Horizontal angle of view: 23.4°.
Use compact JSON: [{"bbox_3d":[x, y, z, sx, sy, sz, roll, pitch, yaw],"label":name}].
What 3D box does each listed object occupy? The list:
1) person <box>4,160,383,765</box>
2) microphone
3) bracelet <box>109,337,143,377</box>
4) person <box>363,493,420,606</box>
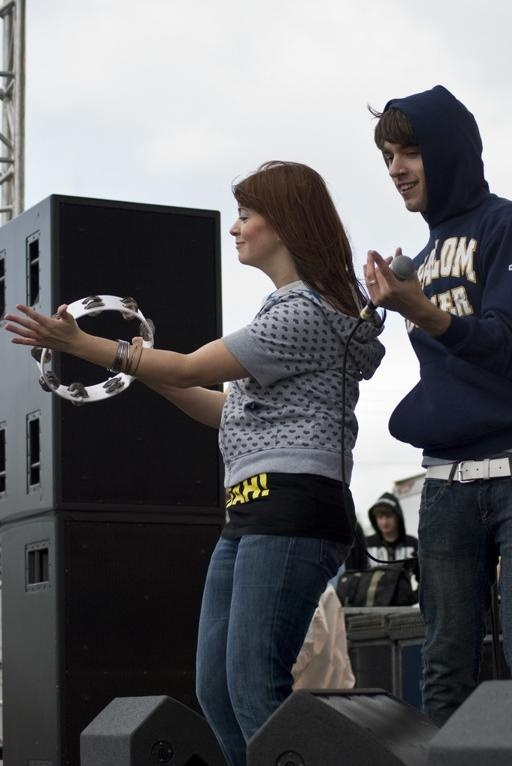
[{"bbox_3d":[-0.042,0.174,2.937,0.623,1.458,0.522,-2,-4,21],"label":"person"},{"bbox_3d":[0.297,-0.217,2.825,0.067,0.057,0.216,29,-40,-8],"label":"microphone"},{"bbox_3d":[-0.294,-0.063,2.897,0.089,0.076,0.046,-2,-15,35],"label":"bracelet"},{"bbox_3d":[0.798,1.053,7.242,0.383,0.840,0.273,-11,-40,15],"label":"person"}]
